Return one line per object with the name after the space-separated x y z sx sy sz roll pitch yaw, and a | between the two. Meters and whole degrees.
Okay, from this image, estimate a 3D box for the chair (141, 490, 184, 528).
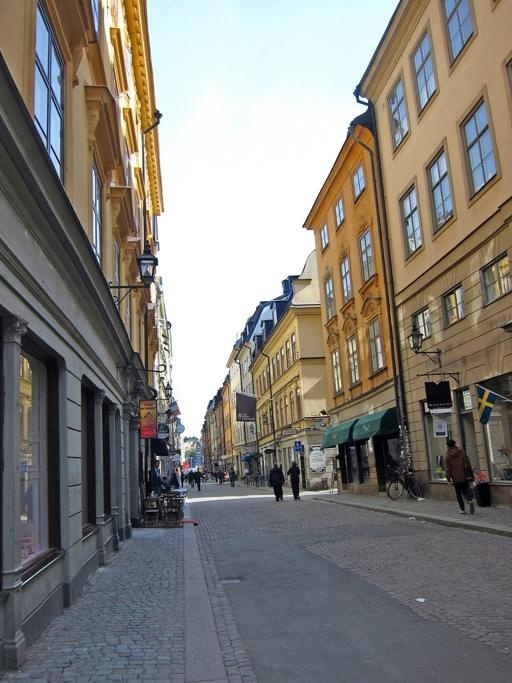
-3.040 5.593 15.881 0.946 0.928 1.118 -1 -4 -5 | chair

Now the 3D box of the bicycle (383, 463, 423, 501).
5.869 5.664 19.050 0.893 1.139 1.678 3 -18 -25 | bicycle

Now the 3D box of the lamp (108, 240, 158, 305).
-3.074 -1.665 12.199 1.088 1.968 0.520 5 -26 -24 | lamp

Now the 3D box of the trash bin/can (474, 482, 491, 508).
6.476 4.332 13.841 0.465 0.964 0.513 -3 -5 32 | trash bin/can

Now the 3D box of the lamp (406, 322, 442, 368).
6.004 0.338 17.471 0.926 1.657 1.753 -5 -16 4 | lamp

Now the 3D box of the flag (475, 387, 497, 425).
6.579 1.737 13.716 0.547 1.100 0.983 -11 -16 27 | flag

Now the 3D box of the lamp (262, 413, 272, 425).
1.202 8.044 50.002 0.615 1.560 1.340 2 -13 -11 | lamp

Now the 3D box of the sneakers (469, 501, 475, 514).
5.506 4.232 12.274 0.100 0.283 0.291 -8 -16 20 | sneakers

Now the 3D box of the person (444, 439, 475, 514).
5.334 3.525 12.611 0.511 1.927 0.560 -9 -8 16 | person

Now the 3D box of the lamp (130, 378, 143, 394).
-3.879 1.463 15.556 0.317 0.550 0.379 3 10 2 | lamp
